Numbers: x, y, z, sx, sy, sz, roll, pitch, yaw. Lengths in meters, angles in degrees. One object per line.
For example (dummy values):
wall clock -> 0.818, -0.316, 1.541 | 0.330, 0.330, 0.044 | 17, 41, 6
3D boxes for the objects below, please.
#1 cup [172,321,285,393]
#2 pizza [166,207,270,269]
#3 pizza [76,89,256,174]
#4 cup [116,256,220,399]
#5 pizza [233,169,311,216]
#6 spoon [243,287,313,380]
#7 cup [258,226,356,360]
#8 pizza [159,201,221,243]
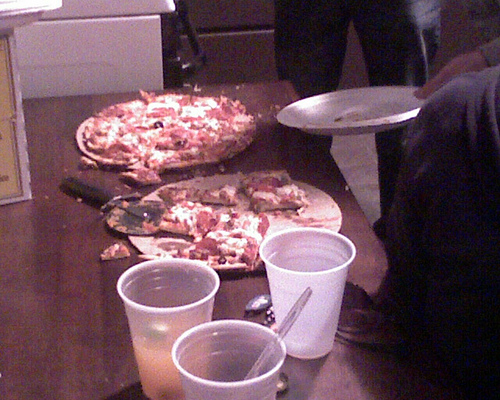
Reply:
cup -> -0.027, 0.178, 0.506 | 0.091, 0.069, 0.095 | -2, 22, 1
pizza -> -0.039, 0.082, 0.846 | 0.115, 0.030, 0.122 | 9, 40, 15
pizza -> -0.239, -0.212, 1.305 | 0.513, 0.107, 0.505 | -2, 28, 0
cup -> -0.103, 0.167, 0.655 | 0.153, 0.193, 0.160 | 2, 26, -1
pizza -> 0.052, -0.019, 1.003 | 0.108, 0.031, 0.113 | -5, 33, -19
spoon -> 0.038, 0.169, 0.570 | 0.025, 0.131, 0.021 | 33, 6, 25
cup -> 0.079, 0.136, 0.642 | 0.127, 0.150, 0.132 | -1, 17, 0
pizza -> -0.119, 0.036, 0.908 | 0.078, 0.028, 0.085 | 17, 44, 18
